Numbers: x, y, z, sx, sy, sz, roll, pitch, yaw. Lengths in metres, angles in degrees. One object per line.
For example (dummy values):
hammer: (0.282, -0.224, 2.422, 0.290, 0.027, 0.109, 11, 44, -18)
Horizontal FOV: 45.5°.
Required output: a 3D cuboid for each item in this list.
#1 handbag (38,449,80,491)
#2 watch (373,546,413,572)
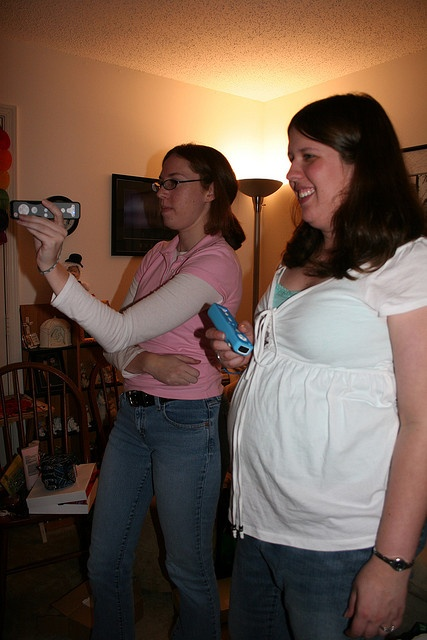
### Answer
handbag: (-0.568, 0.566, 1.874, 0.123, 0.113, 0.096, -3, -4, 1)
watch: (0.285, 0.363, 0.781, 0.035, 0.014, 0.034, 19, -3, -20)
